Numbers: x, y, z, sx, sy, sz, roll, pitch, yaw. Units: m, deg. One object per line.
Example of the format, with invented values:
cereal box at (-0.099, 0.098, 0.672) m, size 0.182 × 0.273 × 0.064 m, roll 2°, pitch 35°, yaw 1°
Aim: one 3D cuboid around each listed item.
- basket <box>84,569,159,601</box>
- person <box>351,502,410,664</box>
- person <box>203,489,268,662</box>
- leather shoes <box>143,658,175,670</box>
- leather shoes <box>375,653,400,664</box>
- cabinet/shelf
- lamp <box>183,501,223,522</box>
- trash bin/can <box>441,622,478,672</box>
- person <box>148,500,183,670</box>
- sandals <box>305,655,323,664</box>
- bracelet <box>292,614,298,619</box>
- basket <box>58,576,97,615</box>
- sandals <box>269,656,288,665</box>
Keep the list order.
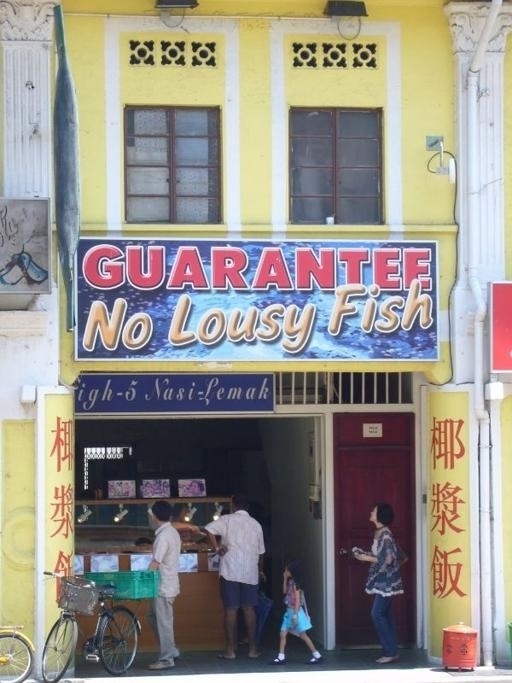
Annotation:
basket at (-1.300, 2.320, 14.960) m, size 0.527 × 0.239 × 0.333 m, roll 0°, pitch -2°, yaw 31°
person at (1.215, 2.416, 15.379) m, size 0.464 × 1.486 × 0.436 m, roll -2°, pitch 0°, yaw 0°
person at (-0.163, 2.422, 15.842) m, size 0.441 × 1.486 × 0.560 m, roll -2°, pitch 0°, yaw 41°
leather shoes at (-0.918, 3.152, 15.063) m, size 0.258 × 0.089 × 0.252 m, roll -2°, pitch 0°, yaw -3°
leather shoes at (1.294, 3.161, 15.381) m, size 0.176 × 0.065 × 0.097 m, roll 2°, pitch 2°, yaw -1°
cabinet/shelf at (-1.457, 2.514, 16.686) m, size 1.883 × 1.382 × 1.124 m, roll 8°, pitch -6°, yaw 20°
lamp at (-0.568, 1.831, 16.541) m, size 0.327 × 0.296 × 0.198 m, roll 6°, pitch -14°, yaw -16°
trash bin/can at (1.951, 2.950, 14.890) m, size 0.341 × 0.426 × 0.327 m, roll -2°, pitch 0°, yaw 6°
person at (-0.902, 2.401, 15.255) m, size 0.290 × 1.456 × 0.547 m, roll -1°, pitch 0°, yaw -1°
sandals at (0.587, 3.191, 15.486) m, size 0.071 × 0.061 × 0.167 m, roll 22°, pitch -16°, yaw -23°
bracelet at (0.378, 2.721, 15.278) m, size 0.033 × 0.045 × 0.016 m, roll 0°, pitch 8°, yaw 2°
basket at (-1.616, 2.337, 14.231) m, size 0.407 × 0.395 × 0.325 m, roll 1°, pitch -5°, yaw 5°
sandals at (0.217, 3.179, 15.377) m, size 0.181 × 0.072 × 0.061 m, roll 2°, pitch -1°, yaw 20°
